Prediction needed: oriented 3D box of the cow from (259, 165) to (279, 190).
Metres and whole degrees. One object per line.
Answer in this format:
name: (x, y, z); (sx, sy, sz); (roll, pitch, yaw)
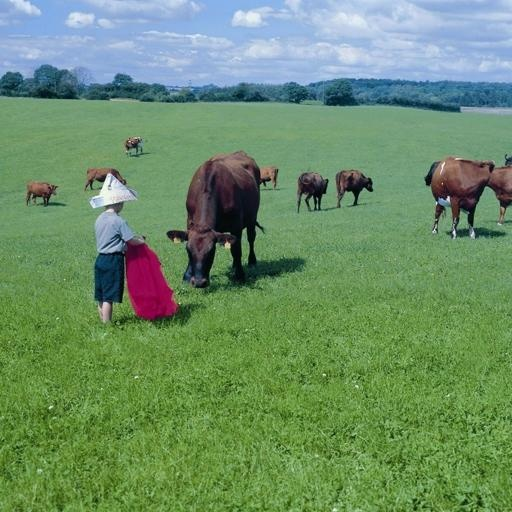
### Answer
cow: (0.989, -5.756, 41.468); (1.041, 1.791, 3.176); (-2, -5, -4)

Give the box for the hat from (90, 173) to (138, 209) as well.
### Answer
hat: (-2.370, -1.085, 9.272); (0.769, 0.554, 0.521); (-4, 9, -17)

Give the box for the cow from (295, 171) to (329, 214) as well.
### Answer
cow: (3.083, -3.662, 31.800); (1.235, 2.122, 2.837); (2, 9, 15)

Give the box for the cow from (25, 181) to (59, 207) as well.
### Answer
cow: (-13.742, -3.994, 35.878); (1.875, 1.503, 1.060); (2, 9, 19)

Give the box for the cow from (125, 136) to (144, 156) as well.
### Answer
cow: (-12.111, -10.982, 55.717); (1.486, 1.787, 6.018); (-2, 10, -10)

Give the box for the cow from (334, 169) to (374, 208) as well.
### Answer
cow: (6.093, -4.139, 34.291); (2.992, 2.128, 0.862); (-2, 10, -35)

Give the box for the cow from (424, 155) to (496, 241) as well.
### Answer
cow: (6.988, -1.963, 19.213); (0.970, 2.640, 4.173); (-6, 12, -7)
